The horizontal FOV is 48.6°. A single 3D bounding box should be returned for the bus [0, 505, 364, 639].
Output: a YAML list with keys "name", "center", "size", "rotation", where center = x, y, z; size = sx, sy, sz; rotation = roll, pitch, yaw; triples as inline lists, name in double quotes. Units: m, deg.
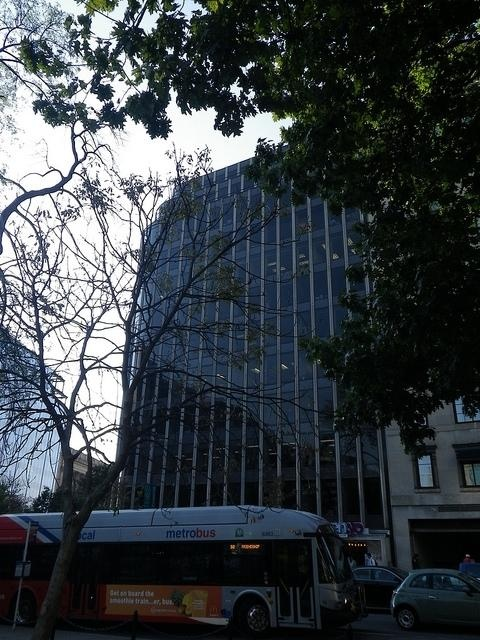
- name: "bus"
  center: [-1.847, 6.485, 13.908]
  size: [9.435, 3.082, 1.236]
  rotation: [-6, -26, 17]

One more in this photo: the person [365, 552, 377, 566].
- name: "person"
  center: [6.337, 11.523, 25.815]
  size: [0.571, 0.601, 4.358]
  rotation: [-4, -25, 13]
